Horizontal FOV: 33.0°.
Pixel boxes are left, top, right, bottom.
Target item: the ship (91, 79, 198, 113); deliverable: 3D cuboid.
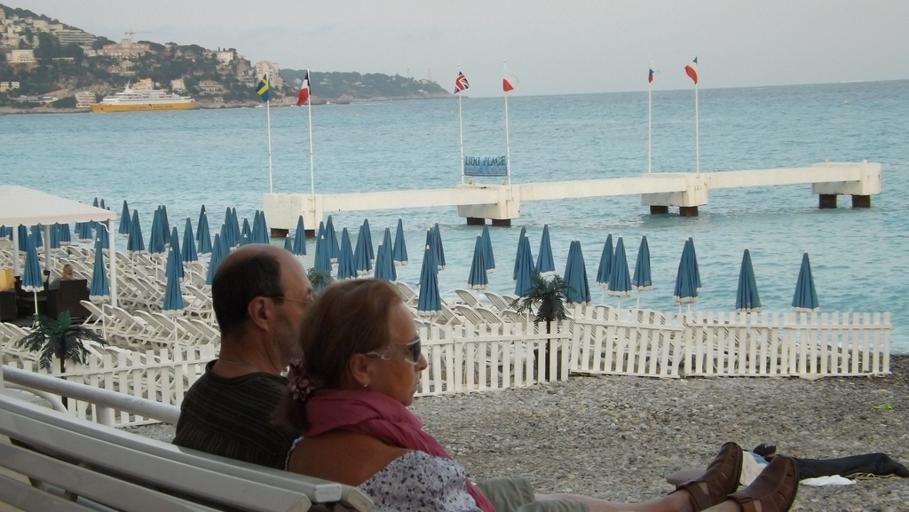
[{"bbox_3d":[-70.758,-37.128,352.058,24.437,6.641,5.256,-4,15,-23],"label":"ship"}]
